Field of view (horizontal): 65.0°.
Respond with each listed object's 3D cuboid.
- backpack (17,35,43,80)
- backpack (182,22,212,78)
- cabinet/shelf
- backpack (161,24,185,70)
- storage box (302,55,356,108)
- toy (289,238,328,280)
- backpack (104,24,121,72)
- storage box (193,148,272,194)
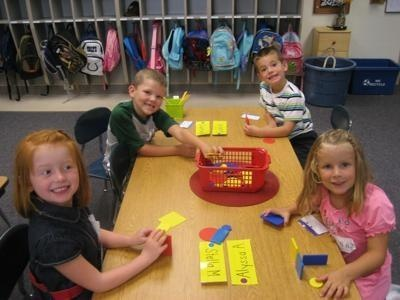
[{"bbox_3d":[-2.734,-1.508,5.008,0.335,0.664,0.480,-4,25,-16],"label":"backpack"},{"bbox_3d":[-0.042,-1.527,4.778,0.418,0.761,0.240,2,21,19],"label":"backpack"},{"bbox_3d":[2.012,-1.695,5.079,0.633,0.606,0.471,1,30,4],"label":"cabinet/shelf"},{"bbox_3d":[-0.410,-1.527,4.684,0.418,0.598,0.251,4,4,-4],"label":"backpack"},{"bbox_3d":[1.852,-0.996,4.573,0.731,0.589,0.762,16,39,25],"label":"storage box"},{"bbox_3d":[0.448,0.468,1.298,0.123,0.047,0.138,-1,30,6],"label":"toy"},{"bbox_3d":[-1.423,-1.585,4.974,0.306,0.629,0.223,-13,32,-17],"label":"backpack"},{"bbox_3d":[0.188,0.118,1.780,0.344,0.127,0.256,0,27,4],"label":"storage box"}]
